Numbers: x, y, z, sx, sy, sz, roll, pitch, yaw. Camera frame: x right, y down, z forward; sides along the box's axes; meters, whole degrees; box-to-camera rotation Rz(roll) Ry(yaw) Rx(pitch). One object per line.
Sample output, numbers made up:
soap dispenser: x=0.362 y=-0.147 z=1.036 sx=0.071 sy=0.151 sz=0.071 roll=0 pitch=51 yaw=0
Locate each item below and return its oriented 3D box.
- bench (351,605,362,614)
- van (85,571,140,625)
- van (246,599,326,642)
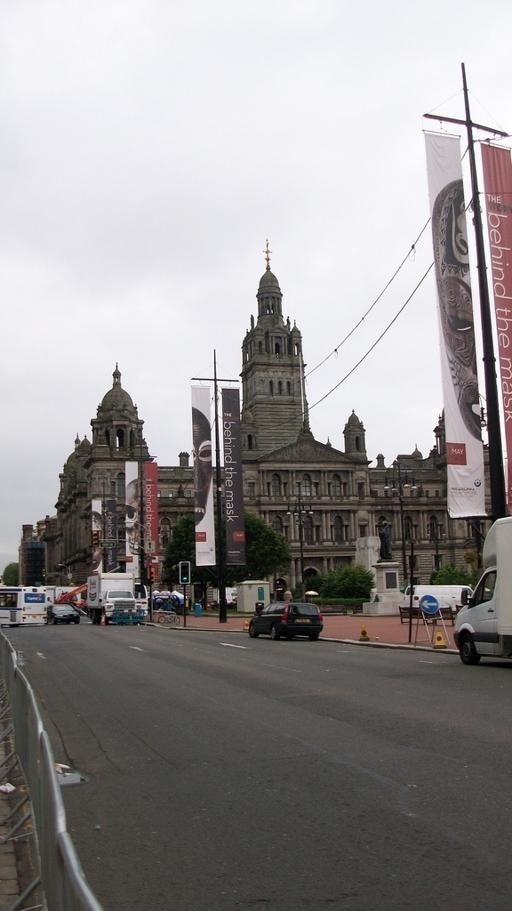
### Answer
bench: x=6.877 y=10.482 z=58.574 sx=0.711 sy=0.762 sz=0.408 roll=-2 pitch=-20 yaw=2
van: x=-9.862 y=9.653 z=57.890 sx=2.243 sy=2.939 sz=5.178 roll=2 pitch=-13 yaw=-16
van: x=1.205 y=6.309 z=32.993 sx=1.358 sy=1.095 sz=2.942 roll=4 pitch=-8 yaw=-19
